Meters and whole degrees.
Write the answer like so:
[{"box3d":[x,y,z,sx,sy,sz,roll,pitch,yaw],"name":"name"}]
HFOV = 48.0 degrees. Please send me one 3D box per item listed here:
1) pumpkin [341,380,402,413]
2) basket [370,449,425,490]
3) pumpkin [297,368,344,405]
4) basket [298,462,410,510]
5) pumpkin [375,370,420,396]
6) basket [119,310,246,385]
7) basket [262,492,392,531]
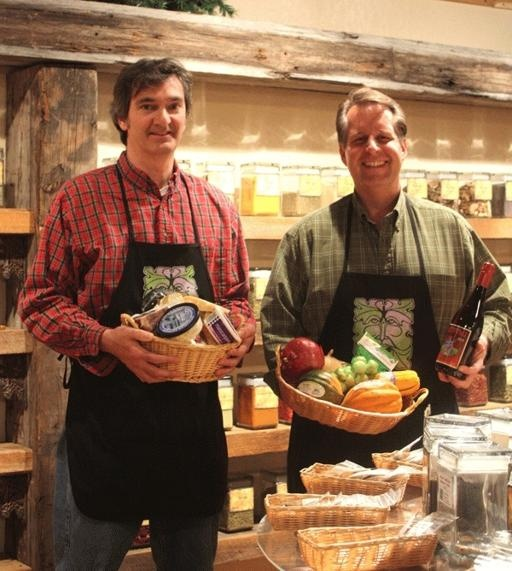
[{"box3d":[0.272,0.254,1.371,0.121,0.056,0.078,-1,11,-15],"name":"pumpkin"},{"box3d":[0.320,0.385,1.249,0.118,0.040,0.143,1,-4,-24],"name":"basket"},{"box3d":[0.157,0.244,1.436,0.111,0.066,0.081,18,-39,13],"name":"pumpkin"},{"box3d":[0.201,0.387,1.130,0.163,0.040,0.098,0,-4,7],"name":"basket"},{"box3d":[0.369,0.250,1.480,0.150,0.059,0.073,2,-1,-22],"name":"pumpkin"},{"box3d":[-0.184,0.189,1.469,0.298,0.123,0.287,-10,-27,40],"name":"basket"},{"box3d":[0.120,0.386,1.018,0.199,0.035,0.086,0,0,-3],"name":"basket"}]
